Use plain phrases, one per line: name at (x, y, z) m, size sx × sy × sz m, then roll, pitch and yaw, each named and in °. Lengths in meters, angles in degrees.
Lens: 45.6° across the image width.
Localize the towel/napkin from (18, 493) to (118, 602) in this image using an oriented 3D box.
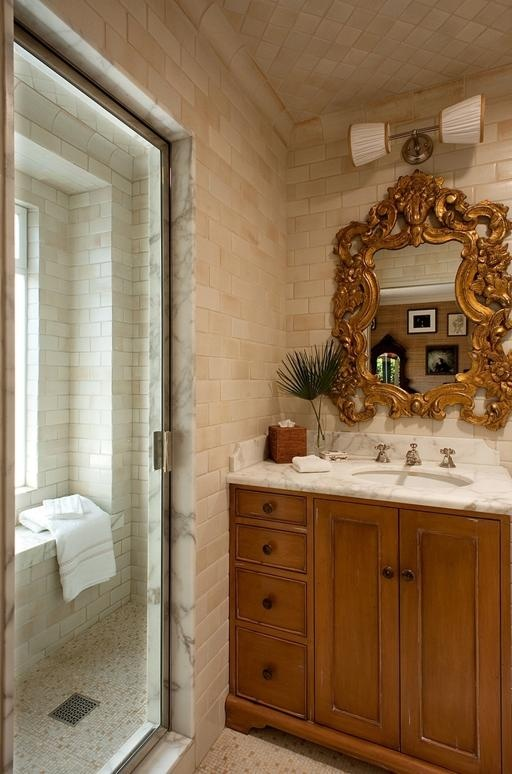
towel/napkin at (-0.444, 0.377, 1.476) m, size 0.227 × 0.081 × 0.181 m, roll 6°, pitch 5°, yaw 39°

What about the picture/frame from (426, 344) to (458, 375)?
picture/frame at (0.721, -0.107, 2.341) m, size 0.111 × 0.122 × 0.017 m, roll 4°, pitch 4°, yaw 36°

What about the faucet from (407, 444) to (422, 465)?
faucet at (0.595, 0.253, 2.278) m, size 0.066 × 0.077 × 0.042 m, roll -2°, pitch -5°, yaw 28°

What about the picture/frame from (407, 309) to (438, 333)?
picture/frame at (0.655, -0.261, 2.378) m, size 0.097 × 0.091 × 0.007 m, roll 3°, pitch 1°, yaw 34°

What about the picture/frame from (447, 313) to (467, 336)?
picture/frame at (0.769, -0.240, 2.315) m, size 0.084 × 0.123 × 0.009 m, roll 3°, pitch 4°, yaw 34°

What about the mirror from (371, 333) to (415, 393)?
mirror at (0.556, -0.094, 2.430) m, size 0.220 × 0.293 × 0.029 m, roll 4°, pitch 10°, yaw 39°

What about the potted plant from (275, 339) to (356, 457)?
potted plant at (0.257, 0.049, 2.527) m, size 0.230 × 0.468 × 0.385 m, roll -12°, pitch -4°, yaw -33°

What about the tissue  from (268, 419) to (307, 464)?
tissue  at (0.120, 0.217, 2.384) m, size 0.153 × 0.145 × 0.148 m, roll 1°, pitch -2°, yaw -36°
